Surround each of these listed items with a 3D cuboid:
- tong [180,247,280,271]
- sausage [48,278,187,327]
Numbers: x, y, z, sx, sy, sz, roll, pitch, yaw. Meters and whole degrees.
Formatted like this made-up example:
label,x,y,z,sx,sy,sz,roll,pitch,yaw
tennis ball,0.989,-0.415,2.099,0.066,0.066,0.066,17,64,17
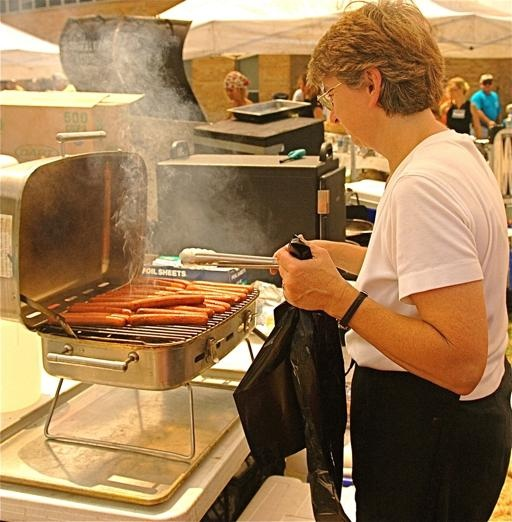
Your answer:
label,x,y,z,sx,sy,sz,roll,pitch,yaw
tong,-0.083,-0.007,1.712,0.369,0.089,0.084,5,2,3
sausage,-0.313,0.129,1.388,0.163,0.024,0.175,2,9,17
